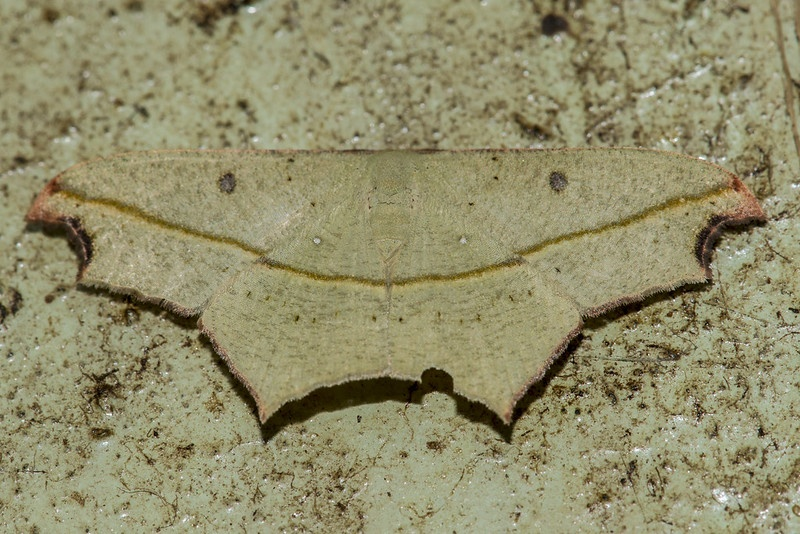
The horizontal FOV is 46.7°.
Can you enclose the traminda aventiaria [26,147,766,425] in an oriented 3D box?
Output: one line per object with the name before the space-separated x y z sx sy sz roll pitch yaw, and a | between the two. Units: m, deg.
traminda aventiaria | -0.057 0.035 6.088 4.693 0.390 1.869 0 66 3
